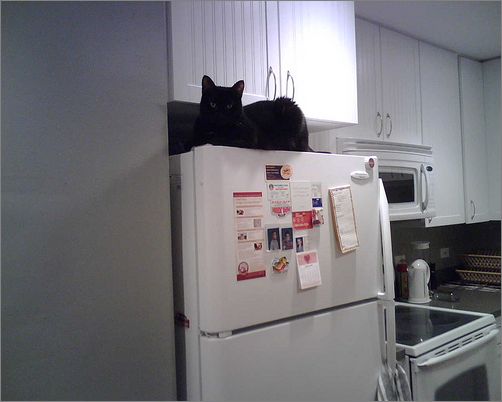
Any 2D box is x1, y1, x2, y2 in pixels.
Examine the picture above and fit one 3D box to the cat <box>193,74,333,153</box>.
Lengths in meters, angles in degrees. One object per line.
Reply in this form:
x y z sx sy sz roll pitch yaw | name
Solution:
0.019 -0.256 1.452 0.346 0.227 0.218 -2 3 -41 | cat
